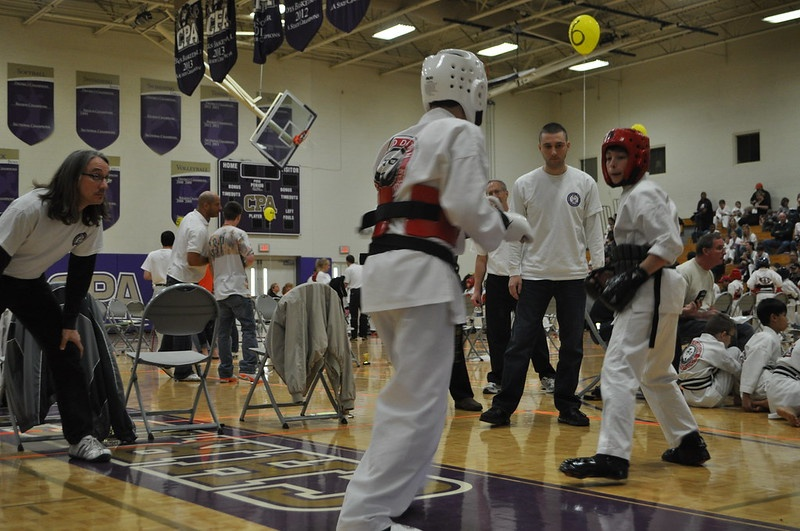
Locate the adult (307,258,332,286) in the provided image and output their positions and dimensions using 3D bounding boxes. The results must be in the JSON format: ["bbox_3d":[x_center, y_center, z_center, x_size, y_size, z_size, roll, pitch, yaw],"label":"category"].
[{"bbox_3d":[-2.055,0.151,16.327,0.390,0.751,0.716,-3,7,-24],"label":"adult"}]

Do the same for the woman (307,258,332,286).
[{"bbox_3d":[-2.055,0.151,16.327,0.390,0.751,0.716,-3,7,-24],"label":"woman"}]

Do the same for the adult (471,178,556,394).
[{"bbox_3d":[1.329,0.576,7.434,0.814,1.924,0.504,-5,29,7],"label":"adult"}]

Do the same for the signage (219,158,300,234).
[{"bbox_3d":[-4.526,-2.209,20.526,3.093,2.704,0.494,3,-4,-38],"label":"signage"}]

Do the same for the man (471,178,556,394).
[{"bbox_3d":[1.364,0.728,7.463,0.867,0.530,1.889,-12,30,16],"label":"man"}]

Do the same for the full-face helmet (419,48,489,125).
[{"bbox_3d":[0.264,-1.097,4.049,0.460,0.452,0.389,2,-4,-40],"label":"full-face helmet"}]

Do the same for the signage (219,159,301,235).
[{"bbox_3d":[-4.499,-2.178,20.498,3.114,2.726,0.510,3,-4,-37],"label":"signage"}]
